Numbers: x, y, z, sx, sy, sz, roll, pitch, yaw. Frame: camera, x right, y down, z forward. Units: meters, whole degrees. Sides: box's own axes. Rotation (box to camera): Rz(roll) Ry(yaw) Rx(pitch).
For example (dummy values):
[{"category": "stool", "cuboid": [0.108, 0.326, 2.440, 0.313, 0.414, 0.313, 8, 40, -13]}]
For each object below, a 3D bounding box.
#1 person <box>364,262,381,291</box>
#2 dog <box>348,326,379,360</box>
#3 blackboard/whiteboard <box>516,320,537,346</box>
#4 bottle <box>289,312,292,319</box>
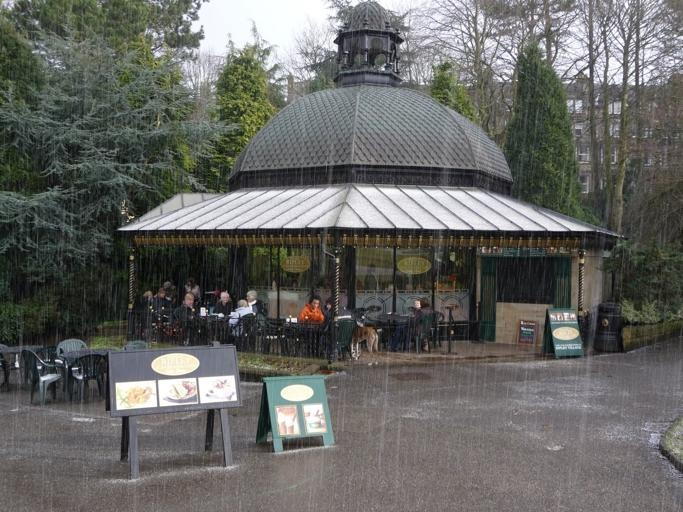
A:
[{"category": "person", "cuboid": [1.028, 0.735, 29.572, 0.518, 0.848, 0.244, -1, 13, 1]}, {"category": "dog", "cuboid": [0.665, 2.557, 26.550, 0.397, 1.129, 1.373, -9, 8, -41]}, {"category": "blackboard/whiteboard", "cuboid": [6.297, 2.619, 29.704, 0.615, 1.083, 0.097, 2, -5, 27]}, {"category": "bottle", "cuboid": [-1.760, 2.078, 30.576, 0.149, 0.197, 0.151, 0, 1, 0]}]
